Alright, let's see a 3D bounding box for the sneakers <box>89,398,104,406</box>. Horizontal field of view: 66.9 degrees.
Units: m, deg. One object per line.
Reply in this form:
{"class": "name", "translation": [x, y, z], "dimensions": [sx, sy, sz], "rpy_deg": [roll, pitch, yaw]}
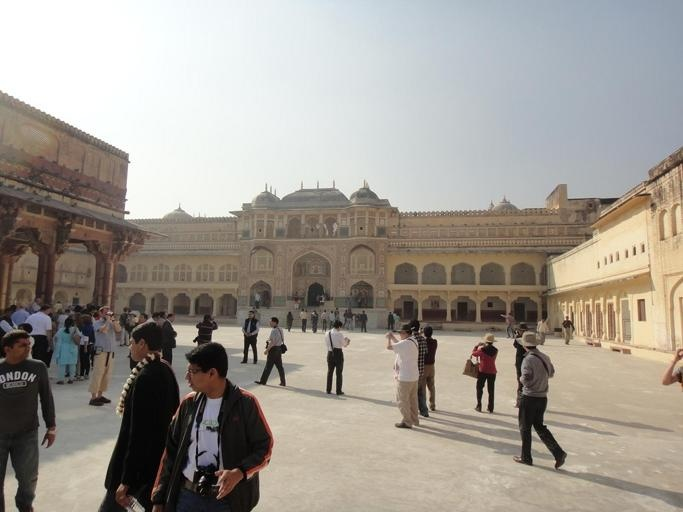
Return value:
{"class": "sneakers", "translation": [-4.739, 2.820, 9.993], "dimensions": [0.320, 0.133, 0.111], "rpy_deg": [-4, -5, 30]}

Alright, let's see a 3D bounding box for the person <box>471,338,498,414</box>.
{"class": "person", "translation": [2.839, 2.316, 10.318], "dimensions": [0.440, 1.508, 0.587], "rpy_deg": [0, -2, 15]}

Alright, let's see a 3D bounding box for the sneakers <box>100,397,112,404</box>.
{"class": "sneakers", "translation": [-4.627, 2.831, 10.124], "dimensions": [0.217, 0.090, 0.081], "rpy_deg": [3, 0, -10]}

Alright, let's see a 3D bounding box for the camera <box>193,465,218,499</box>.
{"class": "camera", "translation": [-1.164, 1.925, 4.442], "dimensions": [0.204, 0.208, 0.081], "rpy_deg": [6, 5, 26]}

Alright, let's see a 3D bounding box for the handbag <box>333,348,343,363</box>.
{"class": "handbag", "translation": [-0.075, 2.200, 11.410], "dimensions": [0.232, 0.346, 0.084], "rpy_deg": [3, -3, -37]}

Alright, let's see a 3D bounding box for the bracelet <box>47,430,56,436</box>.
{"class": "bracelet", "translation": [-3.314, 2.040, 5.941], "dimensions": [0.076, 0.056, 0.077], "rpy_deg": [-3, -9, 14]}

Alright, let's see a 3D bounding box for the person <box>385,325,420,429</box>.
{"class": "person", "translation": [1.097, 2.100, 9.233], "dimensions": [0.572, 1.745, 0.686], "rpy_deg": [1, -2, 9]}

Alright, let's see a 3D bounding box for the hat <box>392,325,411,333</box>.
{"class": "hat", "translation": [1.101, 1.359, 9.450], "dimensions": [0.333, 0.126, 0.344], "rpy_deg": [0, -3, 0]}

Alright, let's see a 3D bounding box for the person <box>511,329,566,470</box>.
{"class": "person", "translation": [2.881, 2.078, 7.600], "dimensions": [0.660, 1.830, 0.610], "rpy_deg": [0, -2, 18]}

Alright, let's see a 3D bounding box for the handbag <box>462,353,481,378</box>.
{"class": "handbag", "translation": [2.620, 2.206, 10.383], "dimensions": [0.273, 0.521, 0.828], "rpy_deg": [1, -2, 15]}

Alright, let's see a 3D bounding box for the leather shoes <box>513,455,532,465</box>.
{"class": "leather shoes", "translation": [2.615, 2.954, 7.487], "dimensions": [0.217, 0.152, 0.078], "rpy_deg": [14, 7, 39]}
